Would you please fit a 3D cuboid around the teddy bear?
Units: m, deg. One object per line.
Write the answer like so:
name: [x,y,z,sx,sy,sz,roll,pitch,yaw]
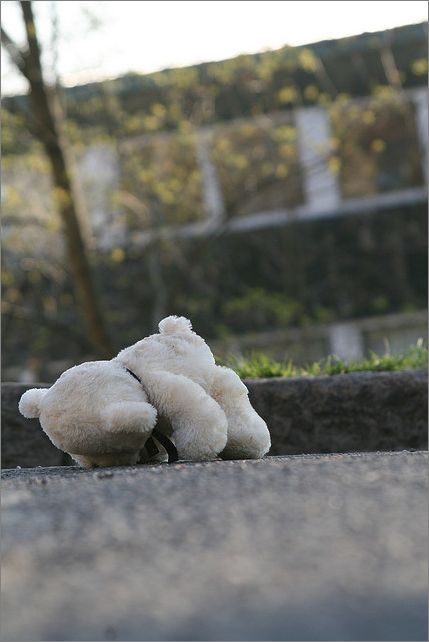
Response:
teddy bear: [-0.216,0.237,3.448,0.570,0.326,0.556,-5,-2,-32]
